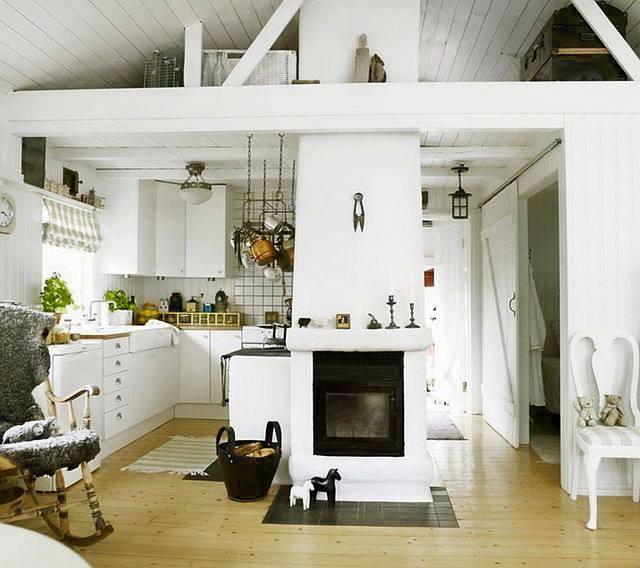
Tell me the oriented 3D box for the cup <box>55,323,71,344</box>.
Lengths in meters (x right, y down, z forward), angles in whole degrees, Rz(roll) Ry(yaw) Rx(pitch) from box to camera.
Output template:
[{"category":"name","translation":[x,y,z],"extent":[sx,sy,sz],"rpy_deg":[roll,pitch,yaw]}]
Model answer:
[{"category":"cup","translation":[-2.030,0.397,4.749],"extent":[0.109,0.191,0.123],"rpy_deg":[0,-5,-5]}]

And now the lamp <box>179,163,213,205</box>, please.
[{"category":"lamp","translation":[-1.237,-1.000,5.967],"extent":[0.282,0.398,0.543],"rpy_deg":[0,4,-14]}]

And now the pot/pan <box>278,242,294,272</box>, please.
[{"category":"pot/pan","translation":[-0.265,-0.219,4.860],"extent":[0.144,0.185,0.192],"rpy_deg":[-5,0,5]}]

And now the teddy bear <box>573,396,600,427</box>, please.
[{"category":"teddy bear","translation":[1.919,0.920,4.419],"extent":[0.188,0.297,0.164],"rpy_deg":[-7,-16,44]}]

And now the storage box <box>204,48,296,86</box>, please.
[{"category":"storage box","translation":[-0.545,-1.717,4.787],"extent":[0.496,0.411,0.131],"rpy_deg":[1,1,3]}]

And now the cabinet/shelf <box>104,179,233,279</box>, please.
[{"category":"cabinet/shelf","translation":[-1.634,-0.608,6.611],"extent":[1.459,1.055,0.455],"rpy_deg":[-1,4,-24]}]

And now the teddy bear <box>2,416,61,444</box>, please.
[{"category":"teddy bear","translation":[-1.790,0.909,3.721],"extent":[0.326,0.125,0.303],"rpy_deg":[-1,4,-21]}]

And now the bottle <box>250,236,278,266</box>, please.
[{"category":"bottle","translation":[-0.440,-0.266,4.815],"extent":[0.191,0.209,0.206],"rpy_deg":[-11,-24,-32]}]

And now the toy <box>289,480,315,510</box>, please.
[{"category":"toy","translation":[-0.130,1.464,4.234],"extent":[0.174,0.192,0.192],"rpy_deg":[1,4,4]}]

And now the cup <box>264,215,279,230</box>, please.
[{"category":"cup","translation":[-0.396,-0.501,4.909],"extent":[0.117,0.124,0.190],"rpy_deg":[0,4,-14]}]

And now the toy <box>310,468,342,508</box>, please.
[{"category":"toy","translation":[0.041,1.433,4.286],"extent":[0.217,0.265,0.191],"rpy_deg":[1,4,2]}]
